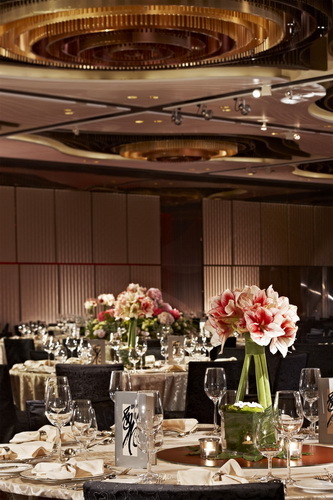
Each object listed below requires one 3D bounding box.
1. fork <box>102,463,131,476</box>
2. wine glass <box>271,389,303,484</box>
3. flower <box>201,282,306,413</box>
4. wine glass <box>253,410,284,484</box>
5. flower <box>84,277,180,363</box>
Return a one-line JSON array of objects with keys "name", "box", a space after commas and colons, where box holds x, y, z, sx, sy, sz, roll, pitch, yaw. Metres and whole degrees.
[{"name": "fork", "box": [-0.146, 0.656, 1.655, 0.080, 0.021, 0.122, -1, -5, -5]}, {"name": "wine glass", "box": [0.334, 0.514, 1.534, 0.086, 0.244, 0.081, -1, 0, 6]}, {"name": "flower", "box": [0.300, 0.340, 1.974, 0.315, 0.425, 0.251, -4, -5, 26]}, {"name": "wine glass", "box": [0.276, 0.526, 1.506, 0.095, 0.193, 0.087, -4, -1, 36]}, {"name": "flower", "box": [-0.239, 0.698, 5.727, 0.934, 0.889, 0.844, 2, -9, -22]}]
